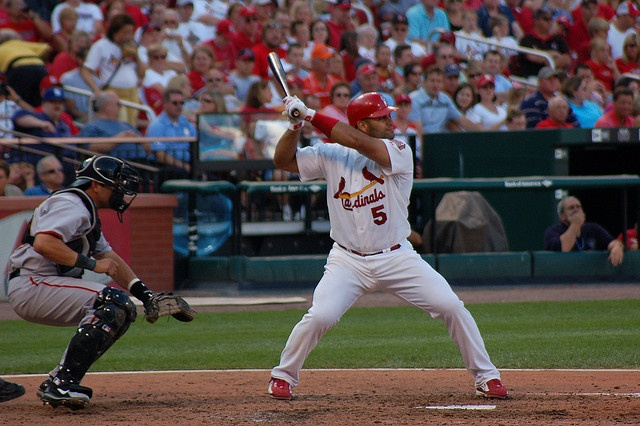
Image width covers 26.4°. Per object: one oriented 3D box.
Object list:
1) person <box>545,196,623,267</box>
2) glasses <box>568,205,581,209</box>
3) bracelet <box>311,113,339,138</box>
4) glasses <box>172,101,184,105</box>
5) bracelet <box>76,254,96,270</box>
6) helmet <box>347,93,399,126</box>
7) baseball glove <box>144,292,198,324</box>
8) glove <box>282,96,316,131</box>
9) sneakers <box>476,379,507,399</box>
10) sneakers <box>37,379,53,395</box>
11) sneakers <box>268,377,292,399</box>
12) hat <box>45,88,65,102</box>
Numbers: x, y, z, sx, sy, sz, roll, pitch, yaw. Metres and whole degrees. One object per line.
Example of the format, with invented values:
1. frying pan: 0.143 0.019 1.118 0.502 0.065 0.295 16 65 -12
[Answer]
1. person: 4.008 0.180 21.085 0.931 1.198 1.192 -9 11 -18
2. glasses: 3.839 -0.081 20.585 0.171 0.049 0.067 2 1 6
3. bracelet: 0.039 -1.077 16.546 0.368 0.221 0.183 35 26 21
4. glasses: -2.207 -1.708 21.348 0.200 0.076 0.062 1 2 -38
5. bracelet: -2.790 0.596 16.295 0.220 0.168 0.091 15 -26 -20
6. helmet: 0.636 -1.252 16.749 0.491 0.240 0.379 -18 10 11
7. baseball glove: -1.852 1.158 16.590 0.800 0.366 0.261 -5 5 -32
8. glove: -0.330 -1.243 16.618 0.433 0.158 0.321 38 5 18
9. sneakers: 2.073 2.139 16.479 0.372 0.170 0.192 -5 -6 33
10. sneakers: -3.287 2.064 16.225 0.151 0.230 0.209 1 2 -36
11. sneakers: -0.538 2.155 16.663 0.146 0.172 0.384 7 -2 -41
12. hat: -4.143 -1.858 21.348 0.271 0.194 0.433 9 7 -11
